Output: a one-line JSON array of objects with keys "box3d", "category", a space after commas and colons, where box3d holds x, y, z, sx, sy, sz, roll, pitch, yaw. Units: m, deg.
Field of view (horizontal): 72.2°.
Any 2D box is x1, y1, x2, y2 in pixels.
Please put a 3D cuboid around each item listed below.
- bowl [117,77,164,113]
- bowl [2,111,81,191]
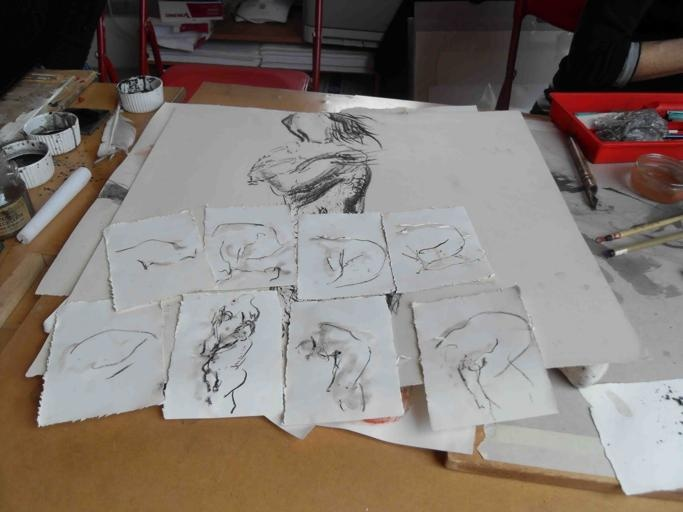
[{"box3d": [-0.503, -0.405, 1.177, 0.101, 0.059, 0.101, 4, 44, -4], "category": "bowl"}, {"box3d": [-0.663, -0.221, 1.048, 0.113, 0.063, 0.191, 12, 44, 0], "category": "bowl"}]
